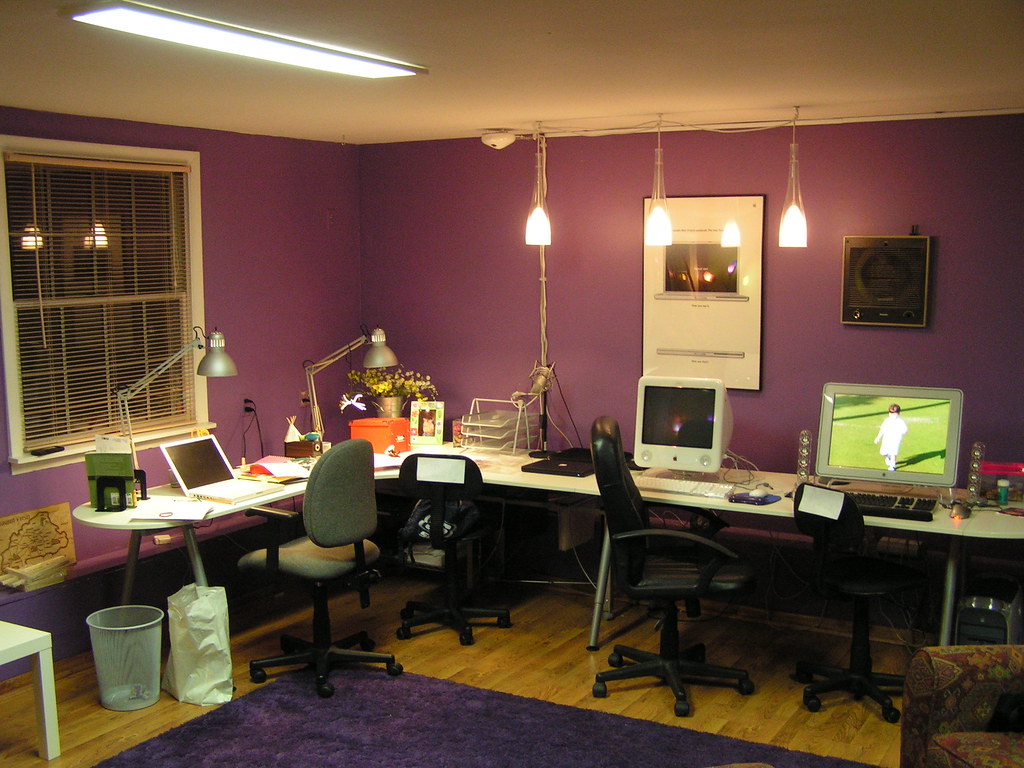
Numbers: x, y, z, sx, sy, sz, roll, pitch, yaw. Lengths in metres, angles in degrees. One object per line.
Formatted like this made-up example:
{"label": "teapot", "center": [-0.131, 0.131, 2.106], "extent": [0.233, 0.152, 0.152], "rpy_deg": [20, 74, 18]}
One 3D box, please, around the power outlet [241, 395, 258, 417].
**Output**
{"label": "power outlet", "center": [-1.847, 0.158, 5.814], "extent": [0.102, 0.187, 0.106], "rpy_deg": [-7, 12, -40]}

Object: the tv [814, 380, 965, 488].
{"label": "tv", "center": [2.039, 0.288, 4.488], "extent": [0.600, 0.481, 0.045], "rpy_deg": [3, 1, 23]}

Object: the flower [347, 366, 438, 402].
{"label": "flower", "center": [-0.859, -0.010, 6.197], "extent": [0.359, 0.167, 0.412], "rpy_deg": [4, -4, 15]}

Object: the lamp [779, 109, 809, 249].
{"label": "lamp", "center": [1.669, -1.193, 4.889], "extent": [0.166, 0.767, 0.656], "rpy_deg": [2, 9, 19]}

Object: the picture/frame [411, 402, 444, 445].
{"label": "picture/frame", "center": [-0.588, 0.281, 5.804], "extent": [0.293, 0.377, 0.039], "rpy_deg": [1, 1, 19]}

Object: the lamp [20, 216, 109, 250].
{"label": "lamp", "center": [-2.553, -0.856, 4.772], "extent": [0.419, 0.144, 0.126], "rpy_deg": [-7, 13, -41]}

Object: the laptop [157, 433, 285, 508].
{"label": "laptop", "center": [-1.640, 0.504, 4.660], "extent": [0.510, 0.232, 0.385], "rpy_deg": [11, 11, 23]}

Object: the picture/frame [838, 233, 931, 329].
{"label": "picture/frame", "center": [2.254, -0.630, 4.977], "extent": [0.534, 0.599, 0.153], "rpy_deg": [4, 8, 33]}

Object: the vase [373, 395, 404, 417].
{"label": "vase", "center": [-0.874, 0.160, 5.973], "extent": [0.153, 0.111, 0.157], "rpy_deg": [-2, -1, 44]}

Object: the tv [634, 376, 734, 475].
{"label": "tv", "center": [1.026, 0.166, 5.052], "extent": [0.665, 0.702, 0.519], "rpy_deg": [1, 2, 25]}
